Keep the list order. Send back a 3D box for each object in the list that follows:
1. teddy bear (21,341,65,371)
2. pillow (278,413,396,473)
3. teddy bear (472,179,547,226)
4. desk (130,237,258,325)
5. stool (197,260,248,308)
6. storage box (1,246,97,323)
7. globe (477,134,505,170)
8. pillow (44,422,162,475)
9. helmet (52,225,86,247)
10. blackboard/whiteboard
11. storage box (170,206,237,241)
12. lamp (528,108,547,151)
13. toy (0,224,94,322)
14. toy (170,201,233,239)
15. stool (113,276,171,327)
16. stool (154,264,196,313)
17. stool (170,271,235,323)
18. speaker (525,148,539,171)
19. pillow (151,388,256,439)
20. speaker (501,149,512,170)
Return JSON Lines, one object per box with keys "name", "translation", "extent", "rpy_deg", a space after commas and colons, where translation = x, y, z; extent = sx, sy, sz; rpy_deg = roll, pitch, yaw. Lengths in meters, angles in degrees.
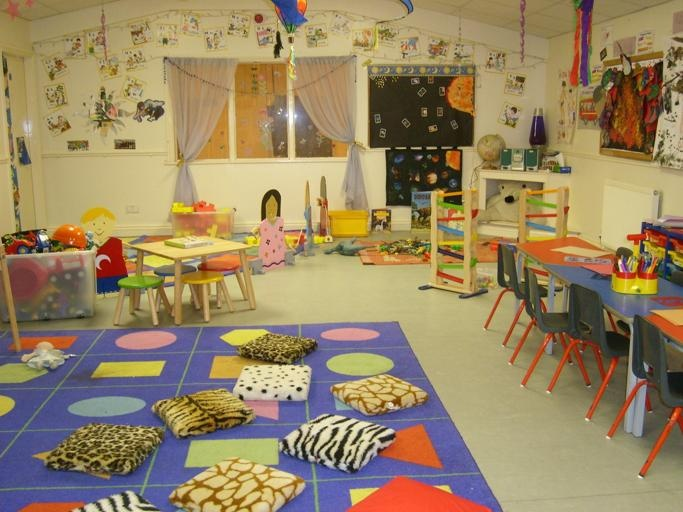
{"name": "teddy bear", "translation": [-2.237, 0.768, 3.818], "extent": [0.225, 0.077, 0.223], "rpy_deg": [0, 12, -16]}
{"name": "pillow", "translation": [-0.041, 1.014, 2.731], "extent": [0.316, 0.094, 0.322], "rpy_deg": [7, 14, 30]}
{"name": "teddy bear", "translation": [2.479, -0.766, 7.294], "extent": [0.812, 0.859, 0.308], "rpy_deg": [7, 4, 21]}
{"name": "desk", "translation": [-1.537, 0.090, 4.999], "extent": [0.924, 0.602, 0.951], "rpy_deg": [-5, 11, -39]}
{"name": "stool", "translation": [-1.195, 0.247, 5.214], "extent": [0.459, 0.492, 0.434], "rpy_deg": [-3, 16, -4]}
{"name": "storage box", "translation": [-2.715, 0.245, 4.819], "extent": [0.696, 0.443, 0.695], "rpy_deg": [-2, 8, -6]}
{"name": "globe", "translation": [2.593, -1.799, 8.575], "extent": [0.478, 0.578, 0.467], "rpy_deg": [-14, 25, -6]}
{"name": "pillow", "translation": [-1.298, 1.047, 2.765], "extent": [0.523, 0.103, 0.380], "rpy_deg": [3, 14, 9]}
{"name": "helmet", "translation": [-2.702, -0.211, 5.090], "extent": [0.274, 0.217, 0.223], "rpy_deg": [25, 12, 20]}
{"name": "blackboard/whiteboard", "translation": [1.289, -2.607, 8.413], "extent": [1.366, 0.976, 0.053], "rpy_deg": [-1, 6, -3]}
{"name": "storage box", "translation": [-2.139, -0.519, 7.833], "extent": [0.574, 0.385, 0.862], "rpy_deg": [0, 4, -4]}
{"name": "lamp", "translation": [3.281, -2.128, 8.282], "extent": [0.279, 0.642, 0.373], "rpy_deg": [5, 15, 21]}
{"name": "toy", "translation": [-2.779, 0.116, 5.025], "extent": [0.853, 0.823, 0.854], "rpy_deg": [-1, 10, -5]}
{"name": "toy", "translation": [-2.154, -0.555, 7.833], "extent": [0.631, 0.397, 0.953], "rpy_deg": [1, 5, -4]}
{"name": "stool", "translation": [-1.924, 0.435, 4.694], "extent": [0.443, 0.335, 0.445], "rpy_deg": [-3, -7, -1]}
{"name": "stool", "translation": [-1.702, 0.272, 5.137], "extent": [0.469, 0.500, 0.458], "rpy_deg": [-2, 15, -10]}
{"name": "stool", "translation": [-1.276, 0.318, 4.886], "extent": [0.485, 0.423, 0.482], "rpy_deg": [13, 19, 42]}
{"name": "speaker", "translation": [2.950, -1.491, 7.753], "extent": [0.198, 0.328, 0.116], "rpy_deg": [2, 14, 8]}
{"name": "pillow", "translation": [-0.838, 0.947, 3.065], "extent": [0.318, 0.065, 0.303], "rpy_deg": [-5, 12, -33]}
{"name": "speaker", "translation": [2.621, -1.537, 7.930], "extent": [0.161, 0.310, 0.082], "rpy_deg": [5, 15, 17]}
